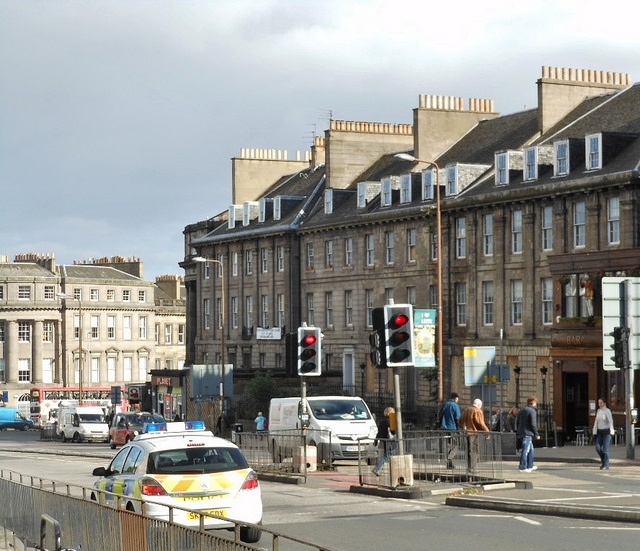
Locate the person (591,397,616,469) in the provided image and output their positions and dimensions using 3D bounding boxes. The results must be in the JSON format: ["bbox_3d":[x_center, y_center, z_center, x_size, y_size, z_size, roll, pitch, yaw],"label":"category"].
[{"bbox_3d":[8.534,4.700,54.012,0.637,2.139,0.526,-3,-6,39],"label":"person"}]

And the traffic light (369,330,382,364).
[{"bbox_3d":[1.523,1.910,47.726,0.261,0.935,0.522,-1,-6,-1],"label":"traffic light"}]

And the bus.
[{"bbox_3d":[-15.932,9.048,122.419,6.963,3.171,2.187,0,-14,-16],"label":"bus"}]

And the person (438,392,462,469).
[{"bbox_3d":[4.038,4.546,53.775,0.798,2.312,0.735,7,-6,-37],"label":"person"}]

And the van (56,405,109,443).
[{"bbox_3d":[-11.908,7.428,90.899,1.451,1.345,2.711,2,-10,-28],"label":"van"}]

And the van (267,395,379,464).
[{"bbox_3d":[0.162,5.001,59.050,2.555,2.359,4.819,1,-4,-27],"label":"van"}]

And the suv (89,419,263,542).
[{"bbox_3d":[-3.223,4.952,42.508,3.870,2.753,3.178,-3,-6,9],"label":"suv"}]

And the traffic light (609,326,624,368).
[{"bbox_3d":[9.190,2.159,55.138,0.337,1.211,0.406,-1,-6,-9],"label":"traffic light"}]

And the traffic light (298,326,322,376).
[{"bbox_3d":[-0.276,2.161,52.488,0.620,1.423,0.754,-1,-6,-7],"label":"traffic light"}]

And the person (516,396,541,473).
[{"bbox_3d":[6.148,4.634,52.862,0.716,2.086,0.601,-7,-4,22],"label":"person"}]
